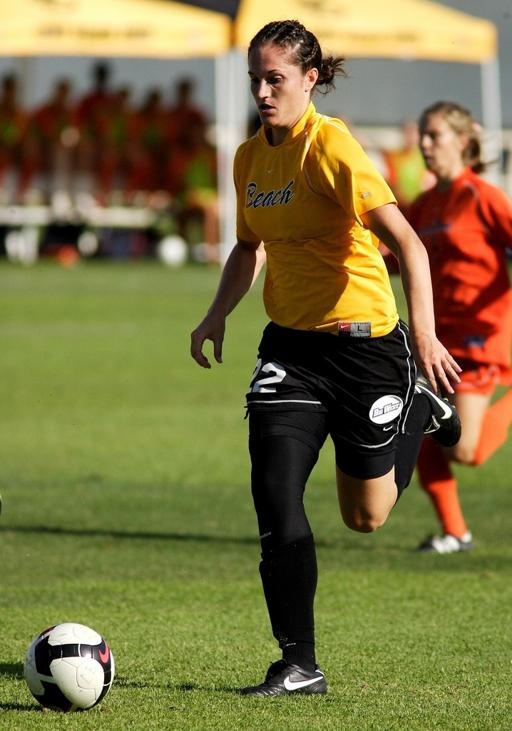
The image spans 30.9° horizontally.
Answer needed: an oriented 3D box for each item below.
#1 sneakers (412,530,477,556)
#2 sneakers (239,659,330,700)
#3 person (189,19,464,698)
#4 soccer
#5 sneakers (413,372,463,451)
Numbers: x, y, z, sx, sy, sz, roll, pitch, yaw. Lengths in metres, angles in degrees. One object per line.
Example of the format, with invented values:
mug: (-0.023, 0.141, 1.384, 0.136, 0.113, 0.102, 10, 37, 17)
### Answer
sneakers: (0.909, 0.859, 4.465, 0.304, 0.105, 0.092, 1, -6, -18)
sneakers: (0.086, 0.800, 2.360, 0.263, 0.090, 0.080, 2, -8, -7)
person: (0.210, -0.049, 2.449, 0.538, 1.699, 0.703, -2, 14, 2)
soccer: (-0.447, 0.740, 2.285, 0.242, 0.195, 0.223, 3, -6, 12)
sneakers: (0.632, 0.178, 3.179, 0.131, 0.358, 0.155, -16, 46, 23)
